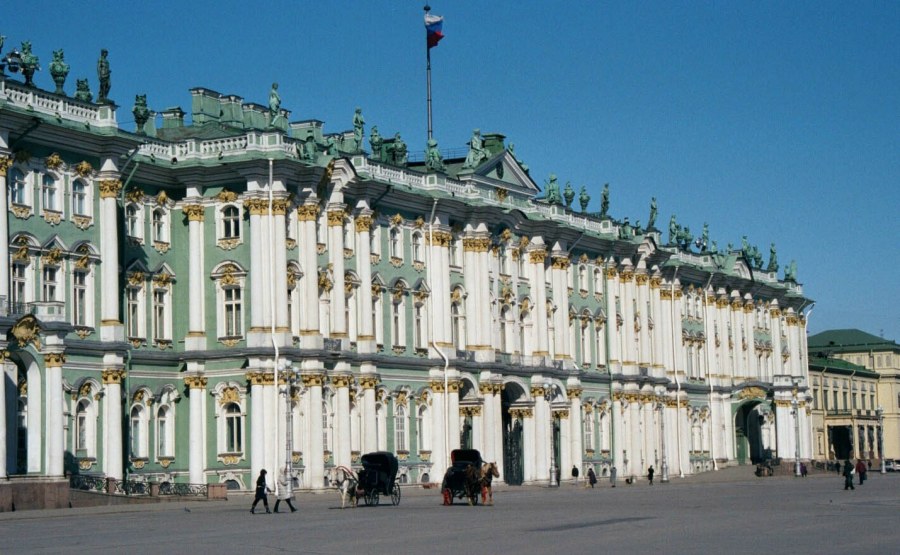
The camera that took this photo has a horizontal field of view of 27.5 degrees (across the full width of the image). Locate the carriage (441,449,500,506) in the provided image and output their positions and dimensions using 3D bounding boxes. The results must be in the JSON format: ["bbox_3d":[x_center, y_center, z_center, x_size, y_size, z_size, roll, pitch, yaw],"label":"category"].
[{"bbox_3d":[1.407,12.117,110.591,2.691,3.219,5.274,3,-9,-35],"label":"carriage"}]

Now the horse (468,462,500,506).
[{"bbox_3d":[1.960,12.417,110.866,1.188,2.344,3.947,0,-6,-30],"label":"horse"}]

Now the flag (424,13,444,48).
[{"bbox_3d":[-1.137,-18.098,134.533,1.085,2.697,1.019,-4,-13,15],"label":"flag"}]
